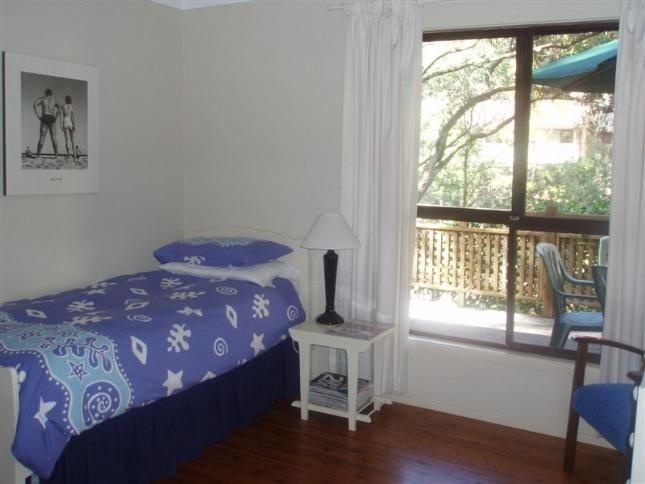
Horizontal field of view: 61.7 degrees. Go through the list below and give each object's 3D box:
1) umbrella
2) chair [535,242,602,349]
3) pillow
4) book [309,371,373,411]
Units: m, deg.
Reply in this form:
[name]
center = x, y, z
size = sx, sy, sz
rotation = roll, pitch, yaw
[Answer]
[umbrella]
center = 1.794, -1.234, 3.784
size = 0.468, 0.236, 0.494
rotation = 1, 2, 22
[chair]
center = 1.784, 0.357, 4.226
size = 0.623, 0.925, 0.582
rotation = 0, 7, 23
[pillow]
center = -0.800, 0.140, 4.373
size = 0.754, 0.253, 0.532
rotation = 9, -1, 19
[book]
center = 0.133, 1.112, 4.001
size = 0.311, 0.112, 0.326
rotation = 4, 4, 25
